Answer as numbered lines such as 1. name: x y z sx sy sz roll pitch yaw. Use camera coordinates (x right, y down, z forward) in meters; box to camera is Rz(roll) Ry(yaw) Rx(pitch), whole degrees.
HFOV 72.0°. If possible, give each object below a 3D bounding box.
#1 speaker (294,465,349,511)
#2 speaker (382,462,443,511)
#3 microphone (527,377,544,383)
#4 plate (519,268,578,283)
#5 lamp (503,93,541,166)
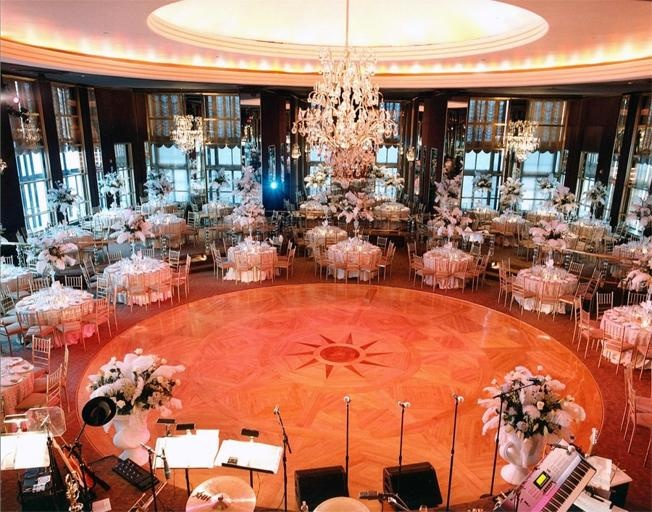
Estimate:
1. speaker: -0.057 2.752 5.267 0.667 0.623 0.396 -2 6 -13
2. speaker: 1.086 2.834 5.529 0.543 0.439 0.567 -3 18 -15
3. microphone: 2.635 1.577 5.627 0.191 0.076 0.074 -7 17 -21
4. plate: 5.337 0.452 10.972 0.617 0.142 0.642 -2 11 -6
5. lamp: 7.749 -4.951 17.909 1.087 2.078 0.812 6 17 25
